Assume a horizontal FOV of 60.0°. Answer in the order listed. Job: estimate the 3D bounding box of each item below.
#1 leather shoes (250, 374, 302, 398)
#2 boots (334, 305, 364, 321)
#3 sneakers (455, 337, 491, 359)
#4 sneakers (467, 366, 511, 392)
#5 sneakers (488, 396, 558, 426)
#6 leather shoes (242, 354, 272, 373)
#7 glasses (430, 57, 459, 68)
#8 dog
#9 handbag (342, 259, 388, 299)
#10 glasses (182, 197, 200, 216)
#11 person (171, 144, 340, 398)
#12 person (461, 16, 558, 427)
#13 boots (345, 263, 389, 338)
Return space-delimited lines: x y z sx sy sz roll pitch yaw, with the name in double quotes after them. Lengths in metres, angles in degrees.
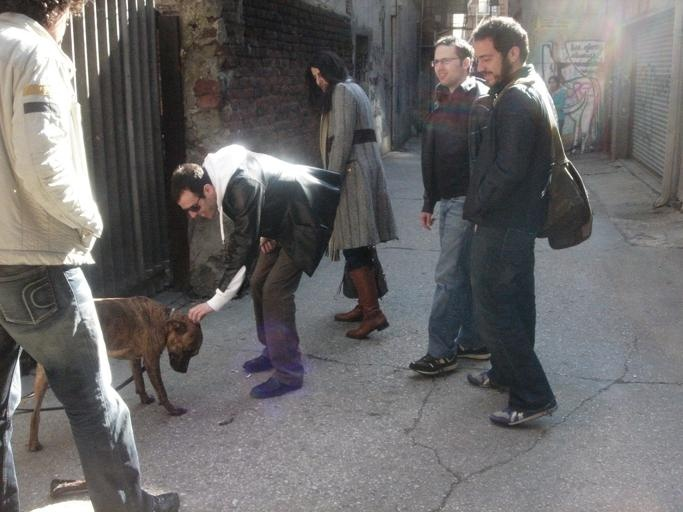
-0.499 0.981 4.441 0.402 0.168 0.148 -1 4 -16 "leather shoes"
0.096 0.569 5.772 0.317 0.233 0.125 3 6 3 "boots"
1.085 0.766 4.928 0.289 0.130 0.117 7 9 5 "sneakers"
1.087 0.906 4.416 0.315 0.129 0.120 11 25 24 "sneakers"
1.176 1.034 4.001 0.485 0.214 0.179 -8 6 6 "sneakers"
-0.666 0.872 4.784 0.267 0.115 0.110 -6 45 -15 "leather shoes"
0.762 -1.483 4.513 0.129 0.072 0.265 -15 25 -26 "glasses"
-1.526 0.695 3.949 1.124 0.754 0.381 -1 -1 -28 "dog"
0.205 0.213 5.366 0.350 0.341 0.204 -5 12 -4 "handbag"
-0.970 -0.331 3.910 0.083 0.091 0.029 -14 -26 9 "glasses"
-0.547 0.117 4.329 0.593 1.833 1.279 16 29 41 "person"
1.117 -0.176 3.871 0.621 2.558 0.896 1 22 11 "person"
0.180 0.419 5.302 0.387 0.582 0.217 -12 -2 -14 "boots"
